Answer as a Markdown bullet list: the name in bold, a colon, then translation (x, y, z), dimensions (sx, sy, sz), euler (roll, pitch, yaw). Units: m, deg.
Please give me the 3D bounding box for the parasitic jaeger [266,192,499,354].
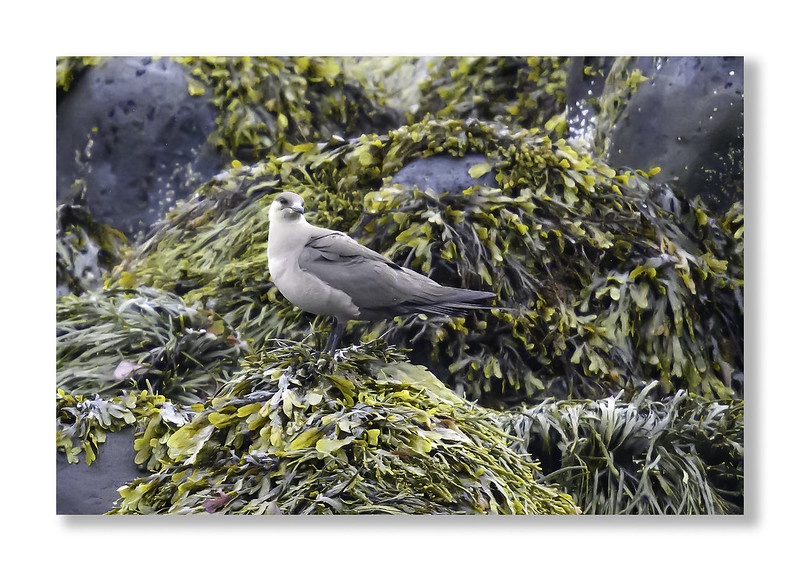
- **parasitic jaeger**: translation (-0.089, -0.030, 4.280), dimensions (0.902, 0.530, 0.337), euler (4, -1, -19)
